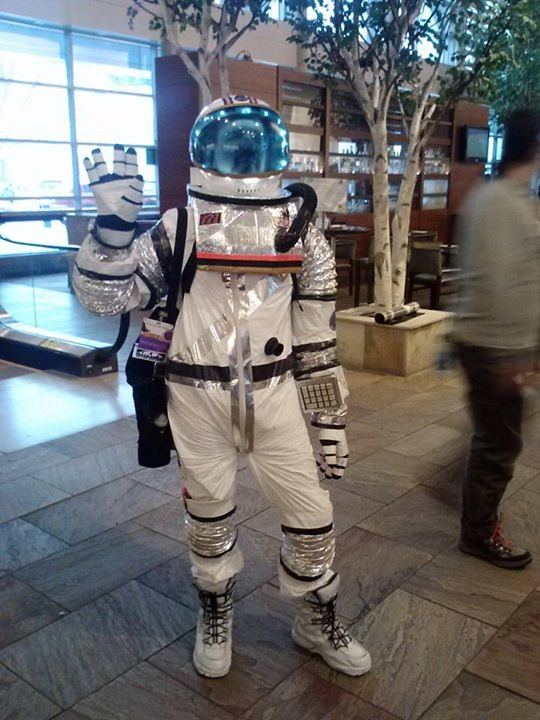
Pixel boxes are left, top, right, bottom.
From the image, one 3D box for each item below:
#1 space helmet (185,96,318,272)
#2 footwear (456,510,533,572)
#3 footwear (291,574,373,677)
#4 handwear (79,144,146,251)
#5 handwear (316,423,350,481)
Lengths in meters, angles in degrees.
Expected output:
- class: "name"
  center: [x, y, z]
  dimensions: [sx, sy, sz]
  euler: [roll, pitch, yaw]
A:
- class: "space helmet"
  center: [-0.043, -0.434, 1.375]
  dimensions: [0.332, 0.434, 0.221]
  euler: [-3, 12, -17]
- class: "footwear"
  center: [0.909, 0.744, 2.300]
  dimensions: [0.326, 0.208, 0.123]
  euler: [8, 12, 28]
- class: "footwear"
  center: [0.185, 0.774, 1.610]
  dimensions: [0.270, 0.222, 0.115]
  euler: [8, 9, 44]
- class: "handwear"
  center: [-0.381, -0.395, 1.340]
  dimensions: [0.131, 0.246, 0.162]
  euler: [-3, 12, -16]
- class: "handwear"
  center: [0.181, 0.265, 1.633]
  dimensions: [0.109, 0.178, 0.073]
  euler: [-1, 0, -17]
